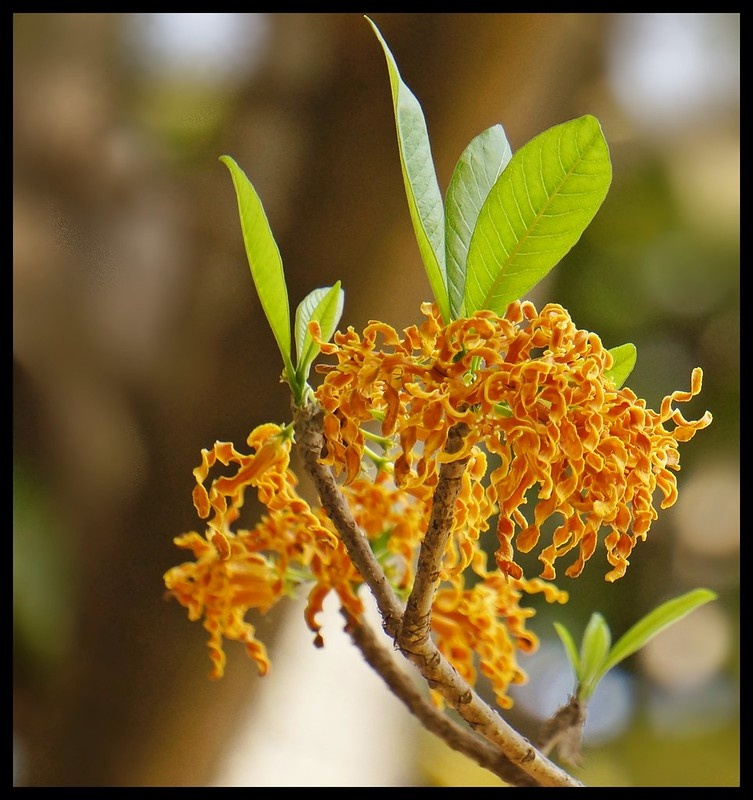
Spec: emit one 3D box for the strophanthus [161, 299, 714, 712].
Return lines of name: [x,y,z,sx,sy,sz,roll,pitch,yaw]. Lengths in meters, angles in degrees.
strophanthus: [0.064,0.039,0.986,0.390,0.255,0.325,2,-56,26]
